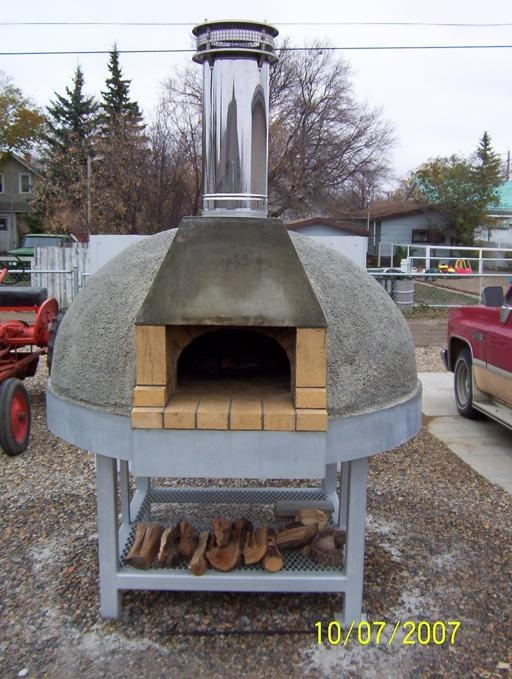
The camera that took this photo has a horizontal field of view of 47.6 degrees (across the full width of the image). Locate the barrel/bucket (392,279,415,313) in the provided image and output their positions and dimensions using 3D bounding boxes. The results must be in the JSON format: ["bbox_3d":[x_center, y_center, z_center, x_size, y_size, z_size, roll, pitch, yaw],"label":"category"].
[{"bbox_3d":[4.069,-1.099,15.818,0.944,0.955,0.418,-6,9,-43],"label":"barrel/bucket"}]
